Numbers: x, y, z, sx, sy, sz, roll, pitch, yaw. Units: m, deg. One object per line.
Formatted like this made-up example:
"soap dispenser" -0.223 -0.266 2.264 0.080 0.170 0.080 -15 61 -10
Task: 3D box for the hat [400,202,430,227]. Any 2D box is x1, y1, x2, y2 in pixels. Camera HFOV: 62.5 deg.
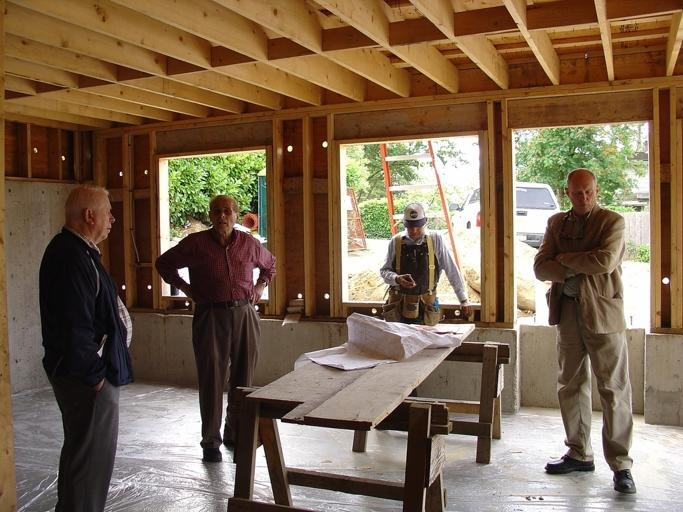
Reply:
"hat" 0.653 -0.394 5.021 0.162 0.125 0.230 1 43 8

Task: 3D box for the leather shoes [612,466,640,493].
"leather shoes" 1.906 1.527 3.792 0.078 0.096 0.217 -4 -10 17

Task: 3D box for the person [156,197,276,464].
"person" -0.997 0.547 4.578 0.887 2.078 0.511 -2 3 -15

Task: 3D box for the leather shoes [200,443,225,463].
"leather shoes" -1.012 1.562 4.439 0.147 0.203 0.110 2 3 8

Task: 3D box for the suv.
"suv" 3.820 -0.715 11.844 1.234 1.135 2.362 5 -1 20

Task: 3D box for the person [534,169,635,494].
"person" 1.726 0.482 4.030 0.654 2.201 0.442 0 3 27

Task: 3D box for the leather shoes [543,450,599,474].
"leather shoes" 1.664 1.520 4.143 0.368 0.160 0.139 1 -7 1
